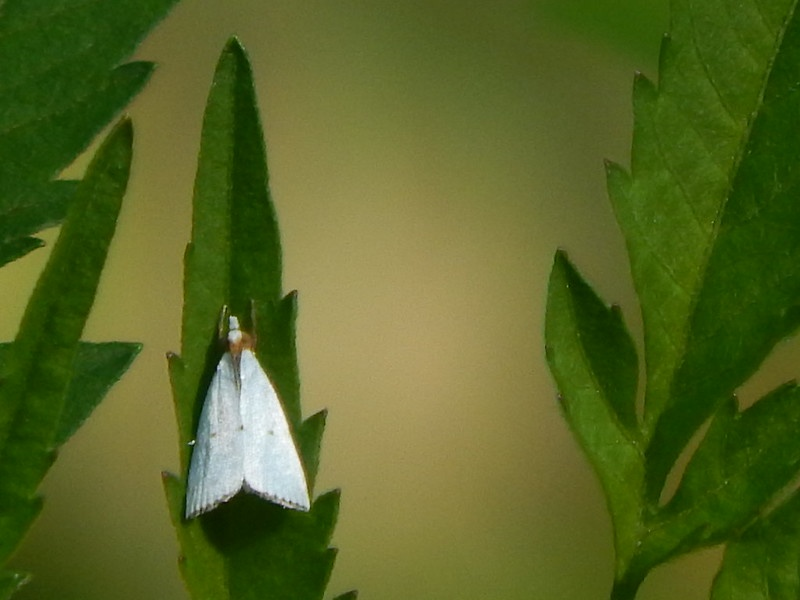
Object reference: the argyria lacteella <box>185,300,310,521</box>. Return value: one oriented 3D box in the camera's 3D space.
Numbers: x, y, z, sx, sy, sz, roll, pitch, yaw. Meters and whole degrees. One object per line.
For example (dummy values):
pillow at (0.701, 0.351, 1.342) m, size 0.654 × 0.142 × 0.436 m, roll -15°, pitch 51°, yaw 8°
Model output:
argyria lacteella at (-0.369, 0.275, 3.071) m, size 0.218 × 0.510 × 0.051 m, roll -3°, pitch -7°, yaw -2°
